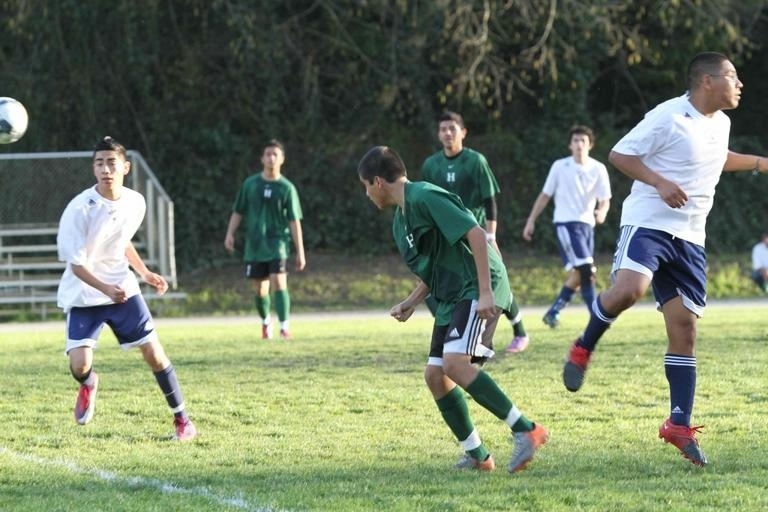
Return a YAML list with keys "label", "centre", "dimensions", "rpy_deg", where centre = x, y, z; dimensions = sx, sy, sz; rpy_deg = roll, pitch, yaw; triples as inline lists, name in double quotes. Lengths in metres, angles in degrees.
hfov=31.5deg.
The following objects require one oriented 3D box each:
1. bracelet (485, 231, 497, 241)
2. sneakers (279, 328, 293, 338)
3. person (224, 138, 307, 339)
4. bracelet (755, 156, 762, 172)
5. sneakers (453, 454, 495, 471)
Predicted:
- label: "bracelet"
  centre: [1.617, -0.368, 20.818]
  dimensions: [0.181, 0.147, 0.191]
  rpy_deg: [0, 6, 4]
- label: "sneakers"
  centre: [-1.669, 1.277, 22.627]
  dimensions: [0.126, 0.155, 0.151]
  rpy_deg: [1, -7, -11]
- label: "person"
  centre: [-1.958, -0.305, 22.373]
  dimensions: [1.167, 3.337, 0.573]
  rpy_deg: [-2, 2, -3]
- label: "bracelet"
  centre: [5.089, -1.316, 18.469]
  dimensions: [0.058, 0.182, 0.130]
  rpy_deg: [11, -15, 12]
- label: "sneakers"
  centre: [1.168, 2.739, 17.832]
  dimensions: [0.540, 0.254, 0.207]
  rpy_deg: [3, -3, 0]
